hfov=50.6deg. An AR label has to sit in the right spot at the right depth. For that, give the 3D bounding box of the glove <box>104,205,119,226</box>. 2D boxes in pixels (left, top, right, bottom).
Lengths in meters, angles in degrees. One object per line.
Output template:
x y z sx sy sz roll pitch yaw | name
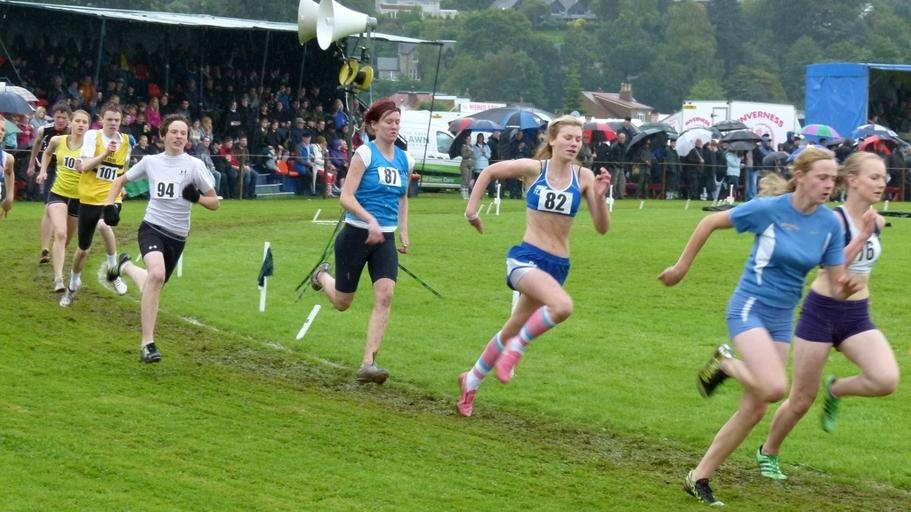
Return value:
-4.806 -0.580 13.502 0.236 0.273 0.106 -2 12 8 | glove

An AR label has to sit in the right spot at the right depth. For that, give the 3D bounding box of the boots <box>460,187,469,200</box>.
0.336 -2.071 31.684 0.363 0.461 0.336 3 -6 -6 | boots

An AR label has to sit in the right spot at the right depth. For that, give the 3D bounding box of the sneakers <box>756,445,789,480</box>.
3.781 2.454 11.440 0.220 0.208 0.495 -17 52 -15 | sneakers

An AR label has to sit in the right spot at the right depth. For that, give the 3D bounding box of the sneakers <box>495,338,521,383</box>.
0.700 1.287 11.995 0.285 0.623 0.225 -10 -45 28 | sneakers

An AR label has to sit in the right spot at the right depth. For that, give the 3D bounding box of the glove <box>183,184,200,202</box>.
-3.544 -0.843 12.913 0.255 0.176 0.204 12 13 24 | glove

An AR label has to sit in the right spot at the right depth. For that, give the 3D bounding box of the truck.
-0.694 -3.940 34.901 5.006 2.153 2.682 -4 16 -6 | truck

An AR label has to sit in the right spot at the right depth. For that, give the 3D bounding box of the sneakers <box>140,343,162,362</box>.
-4.062 1.269 12.833 0.254 0.262 0.195 2 7 -17 | sneakers

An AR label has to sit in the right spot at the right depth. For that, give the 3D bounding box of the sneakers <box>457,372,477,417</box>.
0.139 1.765 12.348 0.218 0.548 0.262 -5 9 -38 | sneakers

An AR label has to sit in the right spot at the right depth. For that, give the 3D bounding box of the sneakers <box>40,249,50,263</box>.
-6.963 0.005 16.281 0.145 0.142 0.354 6 -12 -21 | sneakers

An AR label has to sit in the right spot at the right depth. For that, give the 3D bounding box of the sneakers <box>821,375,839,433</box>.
4.465 1.761 11.519 0.227 0.622 0.291 -3 17 3 | sneakers

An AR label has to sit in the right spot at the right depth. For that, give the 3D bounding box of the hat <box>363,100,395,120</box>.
-1.005 -1.914 12.762 0.467 0.321 0.306 8 7 28 | hat
